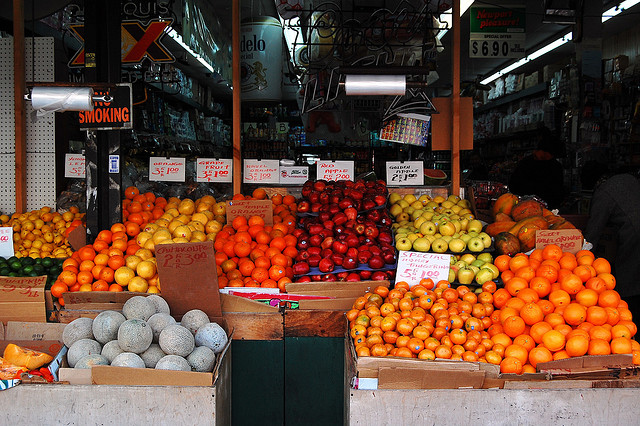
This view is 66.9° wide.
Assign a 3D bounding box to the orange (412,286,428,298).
[{"bbox_3d":[0.691,0.534,3.326,0.085,0.074,0.074,15,27,-1],"label":"orange"}]

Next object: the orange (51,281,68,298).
[{"bbox_3d":[-1.980,0.583,3.674,0.105,0.104,0.105,6,-30,-32],"label":"orange"}]

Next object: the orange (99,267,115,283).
[{"bbox_3d":[-1.630,0.472,3.696,0.102,0.109,0.105,3,22,-10],"label":"orange"}]

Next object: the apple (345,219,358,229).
[{"bbox_3d":[0.267,0.092,4.022,0.074,0.064,0.064,-6,-38,-9],"label":"apple"}]

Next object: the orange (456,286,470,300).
[{"bbox_3d":[0.991,0.551,3.400,0.075,0.081,0.093,-1,14,-4],"label":"orange"}]

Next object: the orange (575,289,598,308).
[{"bbox_3d":[1.758,0.562,3.200,0.122,0.101,0.100,0,-26,-12],"label":"orange"}]

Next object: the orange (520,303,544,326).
[{"bbox_3d":[1.349,0.649,3.128,0.127,0.132,0.158,7,-26,22],"label":"orange"}]

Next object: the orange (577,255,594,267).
[{"bbox_3d":[1.891,0.337,3.466,0.083,0.083,0.085,-41,-6,32],"label":"orange"}]

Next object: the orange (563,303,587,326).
[{"bbox_3d":[1.614,0.641,3.109,0.129,0.137,0.125,-3,-3,-1],"label":"orange"}]

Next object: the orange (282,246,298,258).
[{"bbox_3d":[-0.247,0.315,3.971,0.089,0.109,0.092,1,-34,-3],"label":"orange"}]

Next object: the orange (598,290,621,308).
[{"bbox_3d":[1.920,0.573,3.221,0.198,0.114,0.075,-3,6,-31],"label":"orange"}]

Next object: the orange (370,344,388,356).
[{"bbox_3d":[0.356,0.838,2.954,0.069,0.071,0.071,5,-25,-17],"label":"orange"}]

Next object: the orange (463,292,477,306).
[{"bbox_3d":[1.020,0.581,3.309,0.073,0.078,0.072,-15,-29,22],"label":"orange"}]

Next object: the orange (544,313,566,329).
[{"bbox_3d":[1.494,0.677,3.090,0.093,0.115,0.094,-4,9,20],"label":"orange"}]

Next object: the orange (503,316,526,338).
[{"bbox_3d":[1.227,0.716,3.070,0.121,0.149,0.120,-8,6,-5],"label":"orange"}]

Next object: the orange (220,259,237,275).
[{"bbox_3d":[-0.742,0.433,3.891,0.124,0.104,0.081,1,5,6],"label":"orange"}]

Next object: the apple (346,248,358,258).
[{"bbox_3d":[0.256,0.317,3.872,0.071,0.072,0.073,15,-23,2],"label":"apple"}]

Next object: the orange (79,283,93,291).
[{"bbox_3d":[-1.781,0.564,3.682,0.064,0.066,0.078,29,-6,3],"label":"orange"}]

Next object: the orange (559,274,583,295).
[{"bbox_3d":[1.682,0.467,3.284,0.127,0.136,0.132,4,11,14],"label":"orange"}]

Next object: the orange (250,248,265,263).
[{"bbox_3d":[-0.514,0.336,3.901,0.125,0.094,0.095,1,5,2],"label":"orange"}]

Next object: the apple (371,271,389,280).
[{"bbox_3d":[0.459,0.485,3.754,0.085,0.048,0.068,2,9,4],"label":"apple"}]

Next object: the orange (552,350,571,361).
[{"bbox_3d":[1.478,0.870,2.972,0.062,0.064,0.074,-16,-5,-30],"label":"orange"}]

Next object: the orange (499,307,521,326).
[{"bbox_3d":[1.214,0.651,3.142,0.101,0.126,0.105,16,33,38],"label":"orange"}]

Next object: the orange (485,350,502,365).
[{"bbox_3d":[1.045,0.876,2.934,0.074,0.074,0.073,35,-11,-26],"label":"orange"}]

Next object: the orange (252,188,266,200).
[{"bbox_3d":[-0.596,-0.195,4.718,0.127,0.093,0.108,-1,6,-17],"label":"orange"}]

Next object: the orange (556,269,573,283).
[{"bbox_3d":[1.667,0.427,3.349,0.087,0.109,0.089,5,-20,-2],"label":"orange"}]

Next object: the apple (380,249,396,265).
[{"bbox_3d":[0.533,0.340,3.870,0.108,0.113,0.109,6,6,-45],"label":"apple"}]

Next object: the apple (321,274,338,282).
[{"bbox_3d":[0.073,0.502,3.762,0.117,0.045,0.070,0,6,0],"label":"apple"}]

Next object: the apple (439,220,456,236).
[{"bbox_3d":[1.038,0.124,3.987,0.121,0.113,0.116,3,6,23],"label":"apple"}]

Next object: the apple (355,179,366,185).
[{"bbox_3d":[0.385,-0.290,4.551,0.065,0.046,0.058,8,0,-39],"label":"apple"}]

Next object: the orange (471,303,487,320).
[{"bbox_3d":[1.047,0.642,3.210,0.084,0.089,0.085,8,-15,-28],"label":"orange"}]

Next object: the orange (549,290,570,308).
[{"bbox_3d":[1.586,0.565,3.214,0.104,0.108,0.104,-24,24,-7],"label":"orange"}]

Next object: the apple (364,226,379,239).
[{"bbox_3d":[0.414,0.151,3.993,0.096,0.099,0.095,-25,-10,25],"label":"apple"}]

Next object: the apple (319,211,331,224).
[{"bbox_3d":[0.036,0.040,4.072,0.086,0.090,0.089,3,-16,5],"label":"apple"}]

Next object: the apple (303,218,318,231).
[{"bbox_3d":[-0.090,0.098,4.198,0.091,0.035,0.094,-10,28,24],"label":"apple"}]

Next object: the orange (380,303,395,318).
[{"bbox_3d":[0.438,0.641,3.187,0.079,0.081,0.081,4,-11,9],"label":"orange"}]

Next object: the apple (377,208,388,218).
[{"bbox_3d":[0.544,-0.010,4.250,0.073,0.077,0.074,14,12,11],"label":"apple"}]

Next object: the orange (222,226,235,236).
[{"bbox_3d":[-0.806,0.152,4.245,0.100,0.061,0.139,1,6,11],"label":"orange"}]

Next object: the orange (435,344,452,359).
[{"bbox_3d":[0.741,0.841,2.937,0.070,0.074,0.070,3,-32,3],"label":"orange"}]

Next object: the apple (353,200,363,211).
[{"bbox_3d":[0.334,-0.061,4.215,0.077,0.079,0.076,-27,-4,10],"label":"apple"}]

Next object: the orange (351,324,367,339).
[{"bbox_3d":[0.248,0.754,3.118,0.085,0.087,0.082,-10,27,3],"label":"orange"}]

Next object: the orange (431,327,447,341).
[{"bbox_3d":[0.742,0.756,3.027,0.067,0.072,0.070,-1,0,2],"label":"orange"}]

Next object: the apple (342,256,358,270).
[{"bbox_3d":[0.241,0.392,3.839,0.088,0.091,0.091,1,32,0],"label":"apple"}]

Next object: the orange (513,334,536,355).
[{"bbox_3d":[1.257,0.817,3.002,0.099,0.105,0.102,1,-13,-5],"label":"orange"}]

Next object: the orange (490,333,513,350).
[{"bbox_3d":[1.144,0.795,3.018,0.085,0.090,0.084,-4,-17,13],"label":"orange"}]

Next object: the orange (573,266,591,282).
[{"bbox_3d":[1.791,0.416,3.327,0.099,0.101,0.096,4,-13,-45],"label":"orange"}]

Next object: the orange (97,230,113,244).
[{"bbox_3d":[-1.789,0.193,4.046,0.101,0.130,0.105,7,1,7],"label":"orange"}]

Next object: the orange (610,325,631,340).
[{"bbox_3d":[1.876,0.741,3.037,0.083,0.088,0.084,-3,-6,4],"label":"orange"}]

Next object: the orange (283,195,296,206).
[{"bbox_3d":[-0.301,-0.125,4.678,0.121,0.096,0.178,0,6,-5],"label":"orange"}]
